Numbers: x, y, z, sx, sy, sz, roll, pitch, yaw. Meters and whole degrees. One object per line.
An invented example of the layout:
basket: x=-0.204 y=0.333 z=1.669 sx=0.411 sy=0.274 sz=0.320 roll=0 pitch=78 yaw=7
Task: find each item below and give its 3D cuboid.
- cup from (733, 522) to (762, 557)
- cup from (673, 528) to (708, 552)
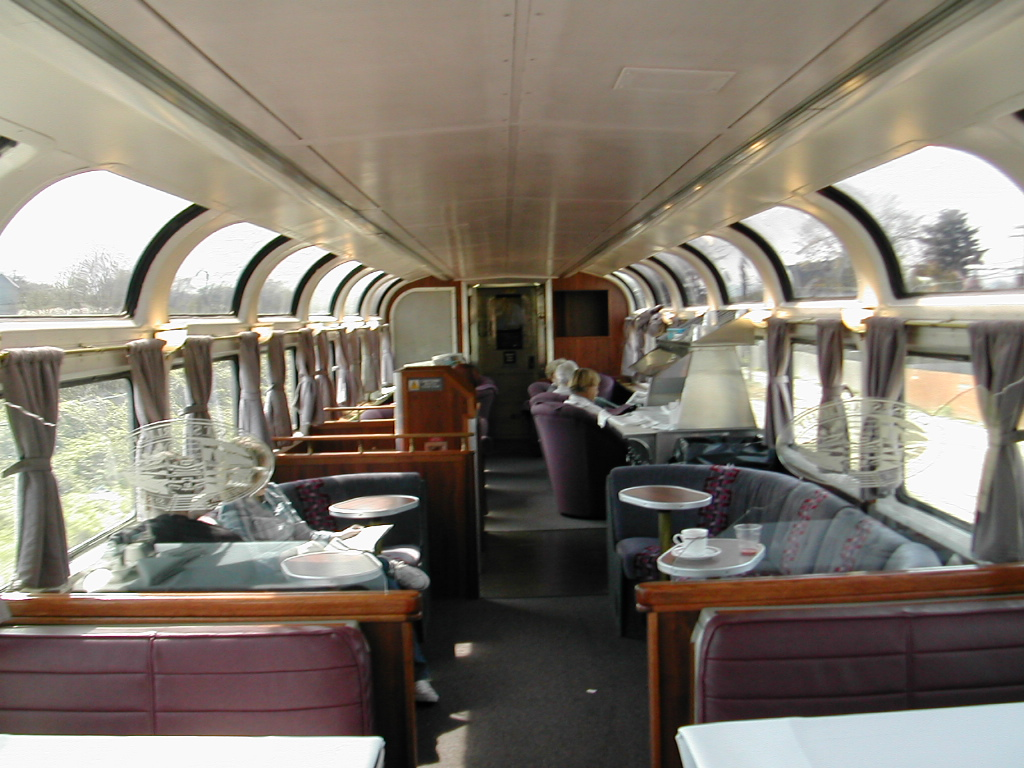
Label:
cup: x=1.061 y=0.690 z=3.134 sx=0.108 sy=0.084 sz=0.099 roll=-3 pitch=0 yaw=0
cup: x=0.792 y=0.681 z=3.125 sx=0.206 sy=0.111 sz=0.145 roll=-4 pitch=-4 yaw=19
